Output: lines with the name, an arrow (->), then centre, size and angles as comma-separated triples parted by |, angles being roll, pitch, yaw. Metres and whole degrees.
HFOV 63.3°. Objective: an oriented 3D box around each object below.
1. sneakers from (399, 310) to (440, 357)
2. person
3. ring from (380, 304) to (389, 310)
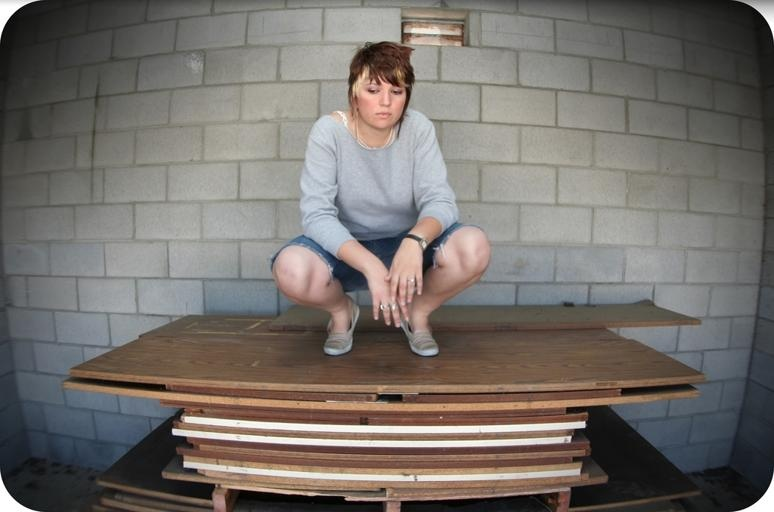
sneakers -> 0.138, 0.400, 3.191 | 0.117, 0.072, 0.281 | -12, 26, -30
person -> -0.114, -0.267, 3.054 | 0.918, 1.513, 0.443 | -3, 12, -8
ring -> -0.015, 0.241, 2.974 | 0.031, 0.017, 0.035 | 0, -14, 5
